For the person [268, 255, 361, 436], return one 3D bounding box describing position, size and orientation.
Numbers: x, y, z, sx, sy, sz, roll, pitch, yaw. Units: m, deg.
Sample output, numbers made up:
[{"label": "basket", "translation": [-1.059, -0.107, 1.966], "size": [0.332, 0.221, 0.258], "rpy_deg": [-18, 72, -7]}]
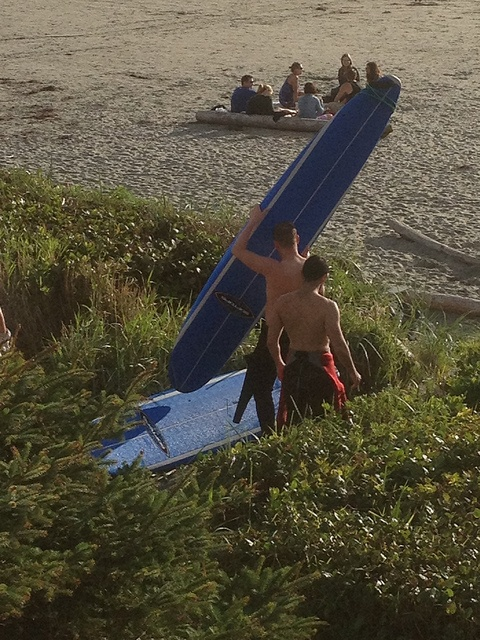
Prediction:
[{"label": "person", "translation": [0.450, 0.120, 3.929], "size": [0.582, 0.976, 0.234], "rpy_deg": [9, 20, 1]}]
